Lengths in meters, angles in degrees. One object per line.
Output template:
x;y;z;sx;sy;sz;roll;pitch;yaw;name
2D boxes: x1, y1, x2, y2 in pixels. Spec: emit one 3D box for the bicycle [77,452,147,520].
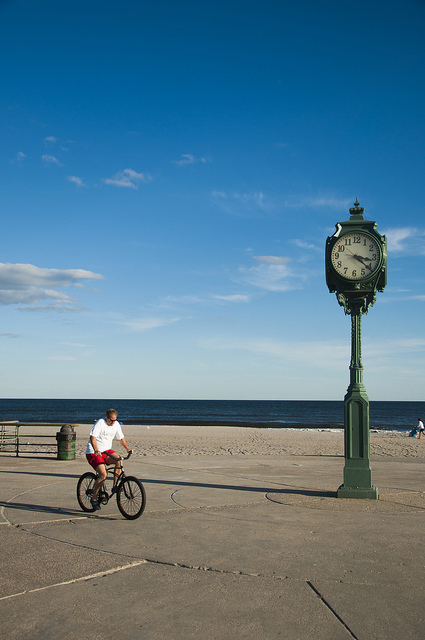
-1.352;2.117;9.360;1.359;0.804;0.637;-5;-7;44;bicycle
